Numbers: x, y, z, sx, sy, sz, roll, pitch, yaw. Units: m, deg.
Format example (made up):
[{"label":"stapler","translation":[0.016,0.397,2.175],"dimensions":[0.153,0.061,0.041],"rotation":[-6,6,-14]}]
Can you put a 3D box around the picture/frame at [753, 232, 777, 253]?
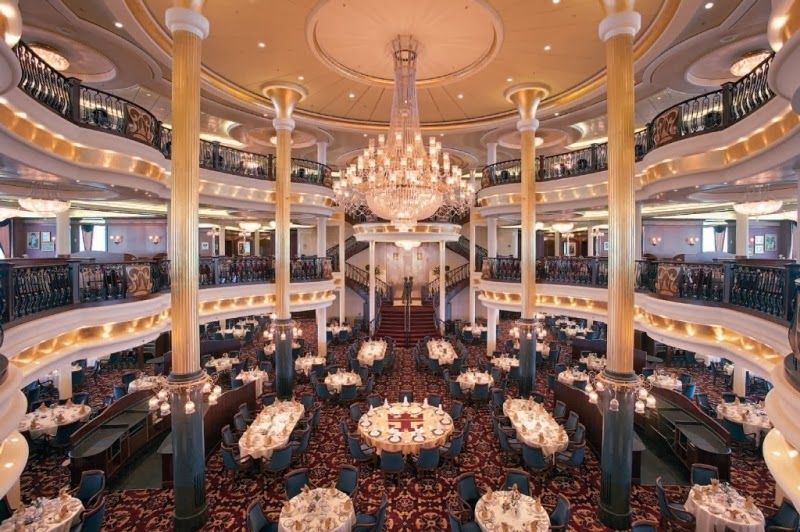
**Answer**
[{"label":"picture/frame","translation":[17.187,-1.150,23.635],"dimensions":[0.941,0.948,0.106],"rotation":[1,-1,10]}]

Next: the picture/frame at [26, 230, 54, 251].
[{"label":"picture/frame","translation":[-16.202,-1.175,22.487],"dimensions":[0.877,0.791,0.095],"rotation":[0,-2,-9]}]

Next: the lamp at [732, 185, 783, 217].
[{"label":"lamp","translation":[9.969,-1.796,13.988],"dimensions":[1.336,0.880,1.322],"rotation":[-7,9,-39]}]

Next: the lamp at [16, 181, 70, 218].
[{"label":"lamp","translation":[-9.341,-1.748,13.105],"dimensions":[1.270,0.905,1.312],"rotation":[5,4,20]}]
